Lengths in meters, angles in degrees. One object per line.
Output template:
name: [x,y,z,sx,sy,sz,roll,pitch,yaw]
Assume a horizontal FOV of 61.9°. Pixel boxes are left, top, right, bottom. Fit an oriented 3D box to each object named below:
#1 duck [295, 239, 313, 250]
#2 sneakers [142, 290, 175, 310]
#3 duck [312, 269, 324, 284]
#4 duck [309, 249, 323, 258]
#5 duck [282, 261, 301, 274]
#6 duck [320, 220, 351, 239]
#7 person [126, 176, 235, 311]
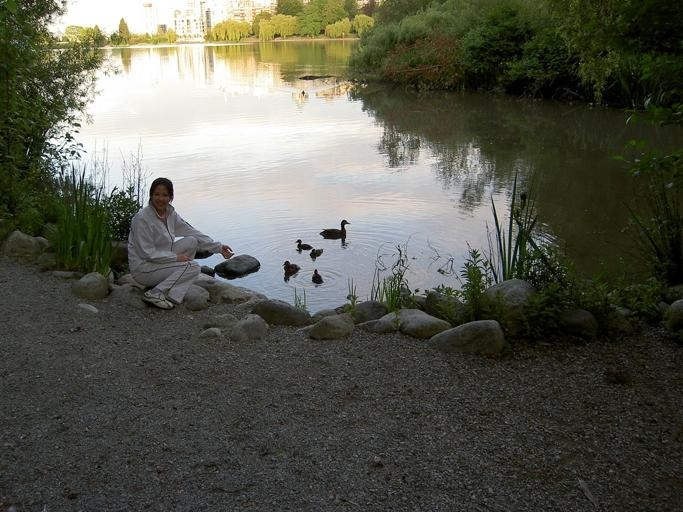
duck: [-0.723,-0.182,10.767,0.254,0.128,0.502,-9,15,-20]
sneakers: [-2.491,0.602,7.768,0.388,0.199,0.210,21,23,-7]
duck: [-0.405,0.385,9.559,0.128,0.129,0.256,-6,57,11]
duck: [-0.456,-0.039,10.444,0.257,0.118,0.219,-5,14,-4]
duck: [-0.883,0.186,9.900,0.291,0.179,0.353,-13,17,-31]
duck: [-0.135,-0.510,11.161,0.623,0.500,0.255,-3,26,-13]
person: [-2.472,-0.246,8.169,1.132,1.706,1.105,-13,17,-34]
